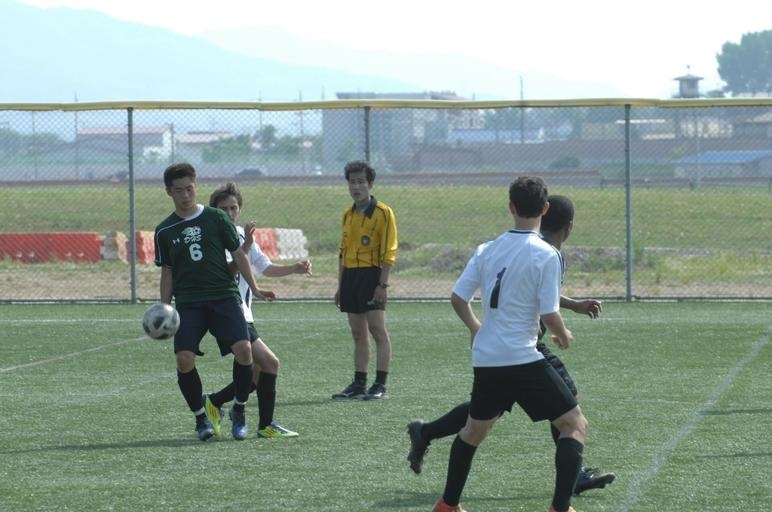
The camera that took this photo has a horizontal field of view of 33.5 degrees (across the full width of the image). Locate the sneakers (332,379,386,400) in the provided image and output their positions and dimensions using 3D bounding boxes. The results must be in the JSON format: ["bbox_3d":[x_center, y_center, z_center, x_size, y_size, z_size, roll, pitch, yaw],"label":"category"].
[{"bbox_3d":[-0.283,1.585,15.253,0.697,0.239,0.228,3,-7,-6],"label":"sneakers"}]

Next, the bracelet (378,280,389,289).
[{"bbox_3d":[-0.007,0.321,15.290,0.105,0.063,0.094,0,0,32],"label":"bracelet"}]

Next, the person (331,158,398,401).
[{"bbox_3d":[-0.236,0.254,15.368,0.781,2.854,0.662,-3,6,-10],"label":"person"}]

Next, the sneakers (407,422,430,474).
[{"bbox_3d":[0.311,1.916,13.049,0.306,0.536,0.201,3,10,27],"label":"sneakers"}]

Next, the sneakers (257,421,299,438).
[{"bbox_3d":[-1.195,1.918,14.158,0.495,0.167,0.169,0,1,0],"label":"sneakers"}]

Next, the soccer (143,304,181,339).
[{"bbox_3d":[-2.445,0.719,14.050,0.448,0.450,0.426,-1,-1,13],"label":"soccer"}]
